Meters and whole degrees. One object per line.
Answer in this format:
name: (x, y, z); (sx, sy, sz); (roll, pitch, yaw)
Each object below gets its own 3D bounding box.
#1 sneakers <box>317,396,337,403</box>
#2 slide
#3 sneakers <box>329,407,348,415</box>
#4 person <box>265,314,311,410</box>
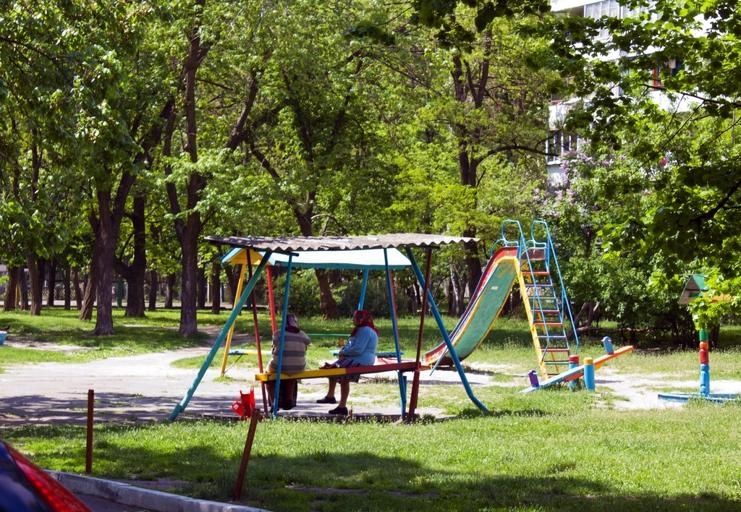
sneakers: (-1.074, 3.451, 26.129); (0.433, 0.216, 0.166); (2, 0, 5)
slide: (4.207, 1.794, 39.464); (0.888, 3.140, 5.234); (22, -49, -24)
sneakers: (-0.775, 3.551, 25.034); (0.437, 0.215, 0.167); (3, -2, 8)
person: (-1.934, 2.423, 25.200); (0.943, 2.221, 0.990); (0, -5, -4)
